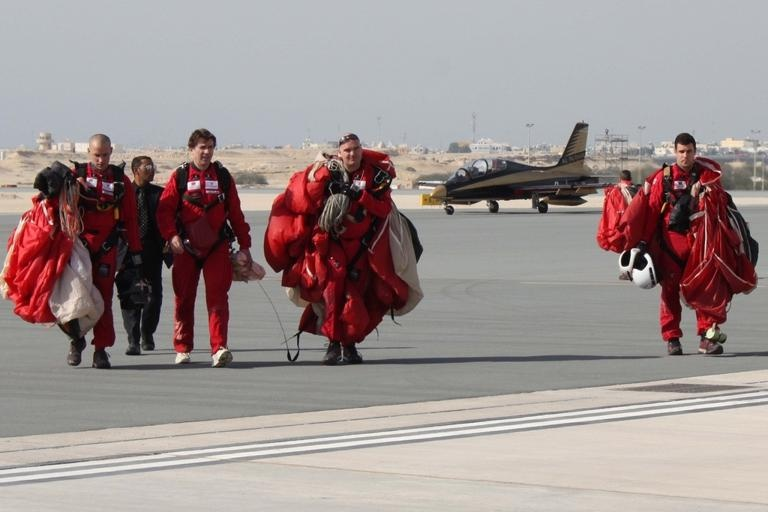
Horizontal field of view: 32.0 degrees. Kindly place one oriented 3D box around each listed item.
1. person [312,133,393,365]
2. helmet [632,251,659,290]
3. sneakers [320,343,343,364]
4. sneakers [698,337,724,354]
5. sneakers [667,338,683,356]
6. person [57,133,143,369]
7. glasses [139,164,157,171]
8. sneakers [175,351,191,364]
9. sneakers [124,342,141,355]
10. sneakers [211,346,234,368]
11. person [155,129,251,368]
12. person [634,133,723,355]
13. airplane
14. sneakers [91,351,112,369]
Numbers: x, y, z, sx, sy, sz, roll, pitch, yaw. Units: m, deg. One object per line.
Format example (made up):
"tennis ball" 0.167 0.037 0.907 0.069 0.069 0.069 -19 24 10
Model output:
"person" -0.262 -0.057 12.537 0.861 2.137 0.407 -2 2 -28
"helmet" 2.559 0.163 13.087 0.242 0.251 0.348 -9 -35 -18
"sneakers" -0.474 0.919 12.494 0.172 0.209 0.114 -1 1 5
"sneakers" 3.134 0.864 12.813 0.273 0.169 0.182 0 2 34
"sneakers" 2.788 0.880 12.757 0.130 0.160 0.132 -1 1 7
"person" -2.500 -0.033 12.218 0.610 2.131 0.333 -2 2 -25
"glasses" -2.354 -0.886 13.395 0.094 0.040 0.090 -3 -2 42
"sneakers" -1.873 0.962 12.552 0.083 0.070 0.182 1 8 -5
"sneakers" -2.441 0.921 13.081 0.128 0.100 0.300 0 -7 -9
"sneakers" -1.468 0.941 12.190 0.125 0.109 0.264 11 -24 -20
"person" -1.656 -0.065 12.376 0.846 2.190 0.553 -1 1 -4
"person" 2.804 -0.123 13.054 0.651 2.124 0.524 -2 2 -45
"airplane" 5.382 -2.959 55.635 7.815 2.433 7.522 0 -1 -40
"sneakers" -2.551 0.967 12.174 0.116 0.119 0.214 23 27 -28
